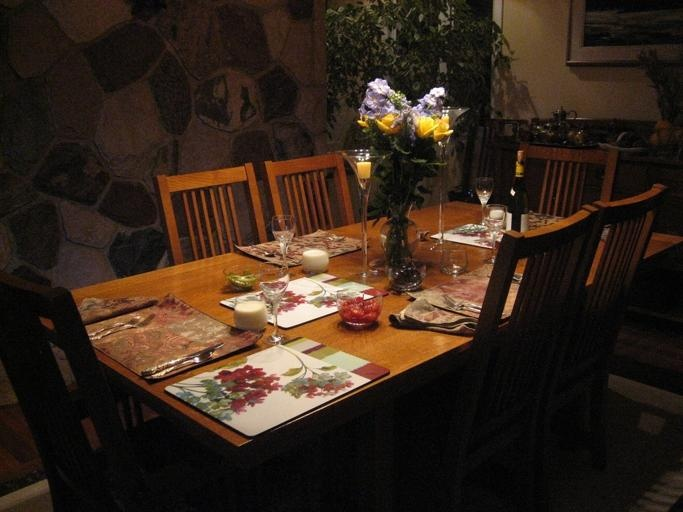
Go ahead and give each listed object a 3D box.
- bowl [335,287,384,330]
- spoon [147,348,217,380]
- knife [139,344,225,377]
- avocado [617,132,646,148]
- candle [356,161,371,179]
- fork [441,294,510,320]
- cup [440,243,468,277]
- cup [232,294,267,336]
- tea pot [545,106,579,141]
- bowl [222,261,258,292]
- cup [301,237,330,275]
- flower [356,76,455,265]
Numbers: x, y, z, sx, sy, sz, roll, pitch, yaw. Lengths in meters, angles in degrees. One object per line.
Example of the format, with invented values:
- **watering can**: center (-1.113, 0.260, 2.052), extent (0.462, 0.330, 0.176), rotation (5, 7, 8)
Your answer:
- **bowl**: center (0.051, 0.148, 1.489), extent (0.120, 0.080, 0.109), rotation (-2, 7, 0)
- **spoon**: center (-0.379, 0.254, 1.299), extent (0.208, 0.023, 0.047), rotation (-15, 24, -39)
- **knife**: center (-0.384, 0.246, 1.311), extent (0.242, 0.025, 0.053), rotation (-15, 24, -39)
- **avocado**: center (2.188, -0.870, 3.899), extent (0.169, 0.085, 0.127), rotation (9, 13, 31)
- **candle**: center (0.077, -0.287, 1.728), extent (0.049, 0.052, 0.051), rotation (8, 18, 43)
- **fork**: center (0.389, 0.158, 1.498), extent (0.142, 0.024, 0.077), rotation (17, 25, 32)
- **cup**: center (0.392, 0.011, 1.896), extent (0.115, 0.110, 0.116), rotation (-1, 7, 0)
- **cup**: center (-0.257, 0.169, 1.457), extent (0.088, 0.062, 0.086), rotation (1, 10, 0)
- **tea pot**: center (1.811, -1.073, 4.242), extent (0.237, 0.261, 0.382), rotation (6, 18, 20)
- **bowl**: center (-0.342, 0.055, 1.752), extent (0.118, 0.061, 0.114), rotation (0, 10, 0)
- **cup**: center (-0.093, 0.010, 1.895), extent (0.109, 0.091, 0.104), rotation (0, 11, 0)
- **flower**: center (0.199, -0.265, 1.795), extent (0.307, 0.565, 0.339), rotation (-5, 10, -36)
